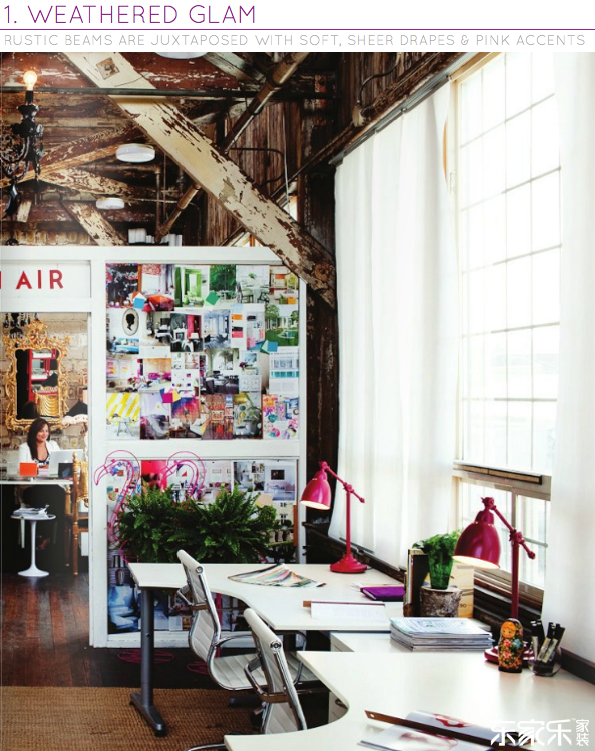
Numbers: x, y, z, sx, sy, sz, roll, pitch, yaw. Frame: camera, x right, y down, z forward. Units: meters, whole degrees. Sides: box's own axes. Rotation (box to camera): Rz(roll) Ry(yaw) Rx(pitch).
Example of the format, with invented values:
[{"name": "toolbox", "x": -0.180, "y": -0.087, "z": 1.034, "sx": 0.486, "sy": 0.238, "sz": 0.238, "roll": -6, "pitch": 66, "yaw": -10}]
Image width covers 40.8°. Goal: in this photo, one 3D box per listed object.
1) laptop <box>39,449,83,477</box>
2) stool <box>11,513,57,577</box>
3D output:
[{"name": "laptop", "x": -1.937, "y": 0.700, "z": 6.503, "sx": 0.315, "sy": 0.230, "sz": 0.224, "roll": 1, "pitch": -1, "yaw": -19}, {"name": "stool", "x": -2.096, "y": 1.321, "z": 6.361, "sx": 0.277, "sy": 0.434, "sz": 0.176, "roll": 0, "pitch": 0, "yaw": 13}]
